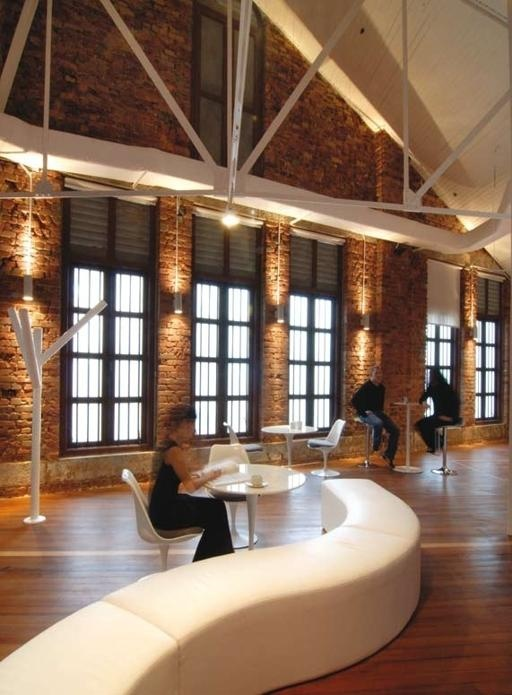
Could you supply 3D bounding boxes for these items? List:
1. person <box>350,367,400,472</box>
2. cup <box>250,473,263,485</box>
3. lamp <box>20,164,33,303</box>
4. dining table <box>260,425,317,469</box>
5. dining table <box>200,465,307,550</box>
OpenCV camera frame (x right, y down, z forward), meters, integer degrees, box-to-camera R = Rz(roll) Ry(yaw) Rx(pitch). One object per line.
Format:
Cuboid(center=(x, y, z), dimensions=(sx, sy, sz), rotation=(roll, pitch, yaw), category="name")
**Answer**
Cuboid(center=(1.714, 0.977, 8.382), dimensions=(0.480, 1.312, 0.770), rotation=(1, 8, -23), category="person")
Cuboid(center=(0.002, 0.877, 3.962), dimensions=(0.065, 0.066, 0.066), rotation=(-1, -2, 0), category="cup")
Cuboid(center=(-2.297, -1.125, 6.035), dimensions=(0.115, 1.326, 0.406), rotation=(2, 8, -21), category="lamp")
Cuboid(center=(0.406, 1.114, 7.411), dimensions=(0.697, 0.704, 0.677), rotation=(0, -4, -1), category="dining table")
Cuboid(center=(0.003, 1.059, 4.186), dimensions=(0.688, 0.462, 0.692), rotation=(0, 0, 0), category="dining table")
